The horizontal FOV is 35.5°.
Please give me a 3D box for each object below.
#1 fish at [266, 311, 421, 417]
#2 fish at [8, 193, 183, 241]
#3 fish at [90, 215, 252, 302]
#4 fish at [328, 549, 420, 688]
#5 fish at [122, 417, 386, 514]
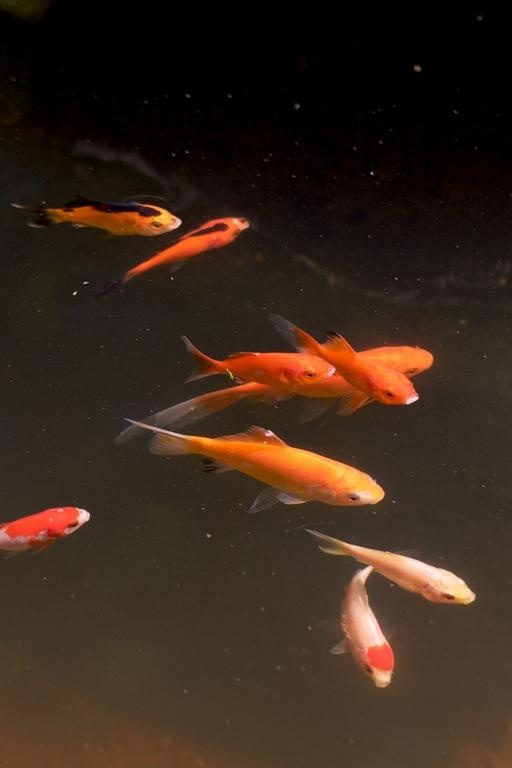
[{"bbox_3d":[0.357,-0.066,3.407,0.572,0.276,0.106,30,63,18],"label":"fish"},{"bbox_3d":[-0.689,-0.762,3.655,0.720,0.162,0.251,1,-13,7],"label":"fish"},{"bbox_3d":[-0.403,-0.596,3.768,0.570,0.096,0.225,-24,-1,3],"label":"fish"},{"bbox_3d":[0.483,1.012,3.456,0.248,0.253,0.536,1,60,-17],"label":"fish"},{"bbox_3d":[0.025,0.357,3.145,0.942,0.385,0.187,14,19,13],"label":"fish"}]
